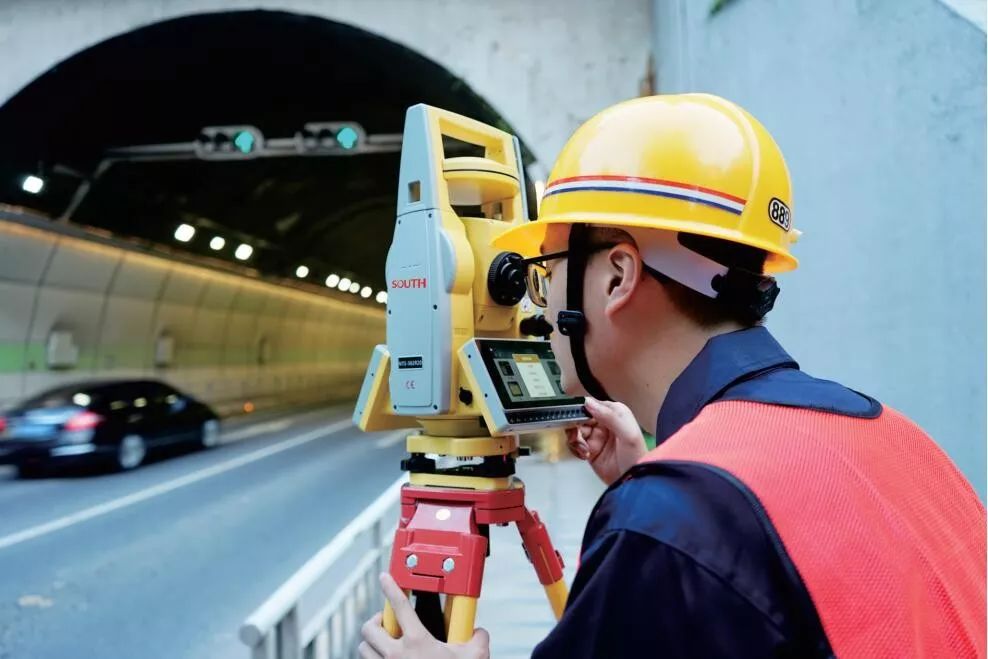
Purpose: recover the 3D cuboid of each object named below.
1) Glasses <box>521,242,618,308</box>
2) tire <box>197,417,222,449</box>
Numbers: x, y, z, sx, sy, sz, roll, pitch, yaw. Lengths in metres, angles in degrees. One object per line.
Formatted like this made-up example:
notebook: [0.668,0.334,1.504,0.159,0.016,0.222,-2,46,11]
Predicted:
Glasses: [0.274,-0.256,3.806,0.289,0.312,0.091,-9,25,-34]
tire: [-6.122,2.250,16.935,0.087,0.663,0.646,-2,4,22]
